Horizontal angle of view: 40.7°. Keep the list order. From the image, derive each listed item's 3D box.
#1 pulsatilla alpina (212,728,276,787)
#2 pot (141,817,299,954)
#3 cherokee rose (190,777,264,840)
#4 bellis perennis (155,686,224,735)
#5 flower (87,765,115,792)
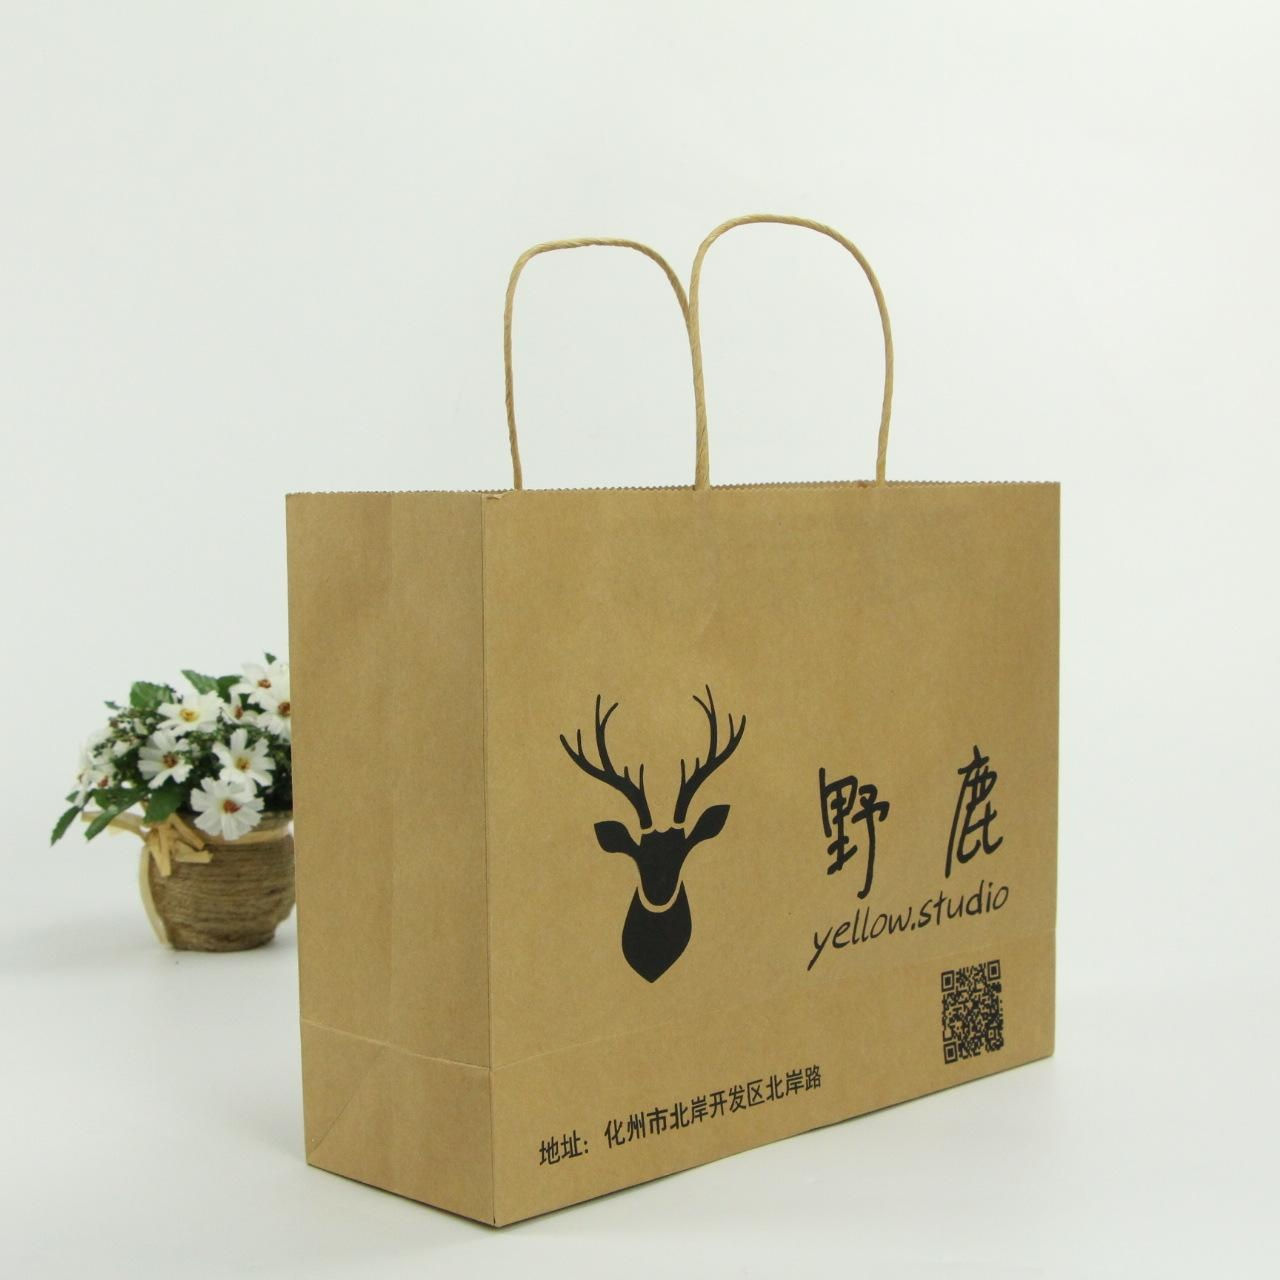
[{"bbox_3d":[-0.680,0.199,2.970,0.104,0.094,0.121,-3,6,-12],"label":"pulsatilla alpina"},{"bbox_3d":[-0.756,0.438,3.161,0.269,0.209,0.258,2,-6,0],"label":"pot"},{"bbox_3d":[-0.703,0.289,2.952,0.122,0.122,0.121,-3,6,-13],"label":"cherokee rose"},{"bbox_3d":[-0.801,0.124,3.083,0.112,0.060,0.150,-3,6,-15],"label":"bellis perennis"},{"bbox_3d":[-0.960,0.235,3.052,0.069,0.042,0.022,3,8,38],"label":"flower"}]
